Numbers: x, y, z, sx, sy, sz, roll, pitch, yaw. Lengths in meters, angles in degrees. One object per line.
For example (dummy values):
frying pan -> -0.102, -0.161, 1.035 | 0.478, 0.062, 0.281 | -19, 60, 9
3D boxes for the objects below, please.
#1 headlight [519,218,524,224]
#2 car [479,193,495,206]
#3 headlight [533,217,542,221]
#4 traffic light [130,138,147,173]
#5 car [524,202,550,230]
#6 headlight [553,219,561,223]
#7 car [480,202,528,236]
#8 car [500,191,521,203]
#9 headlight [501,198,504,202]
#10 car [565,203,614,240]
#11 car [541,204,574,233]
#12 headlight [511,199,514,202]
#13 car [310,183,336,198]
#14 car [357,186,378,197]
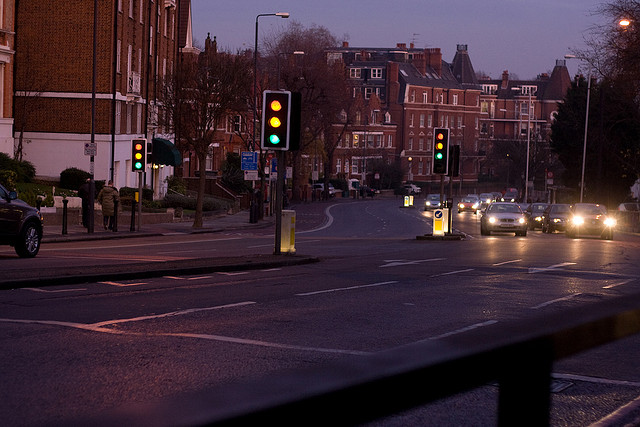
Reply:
headlight -> 10.401, 0.337, 38.092 | 0.245, 0.265, 0.061 | 1, -2, -7
car -> 16.262, -1.460, 71.993 | 1.239, 1.112, 2.524 | -2, -3, 13
headlight -> 14.216, 0.311, 48.108 | 0.190, 0.175, 0.699 | 2, 3, -22
traffic light -> -7.968, -2.605, 32.410 | 0.586, 1.444, 0.783 | 2, 2, -19
car -> 14.798, -0.125, 49.511 | 1.399, 1.314, 2.647 | 2, 16, 16
headlight -> 13.609, 0.383, 42.259 | 0.409, 0.154, 0.086 | 5, 3, 32
car -> 9.926, 0.115, 40.256 | 2.047, 1.700, 4.922 | 2, 3, 8
car -> 20.315, -1.872, 78.515 | 1.508, 1.468, 2.769 | -2, -11, 17
headlight -> 18.284, -1.458, 73.694 | 0.329, 0.359, 0.188 | 1, -5, 0
car -> 14.527, 0.365, 39.852 | 2.067, 1.615, 3.322 | 3, 2, -2
car -> 13.754, 0.175, 43.104 | 1.094, 0.946, 1.964 | 0, -5, 0
headlight -> 19.045, -1.381, 72.717 | 0.237, 0.252, 0.224 | -1, -2, 9
car -> 0.246, -3.088, 96.902 | 3.646, 1.680, 2.103 | 3, 4, 29
car -> 7.392, -3.626, 114.202 | 1.492, 1.134, 2.409 | -1, -2, 42
